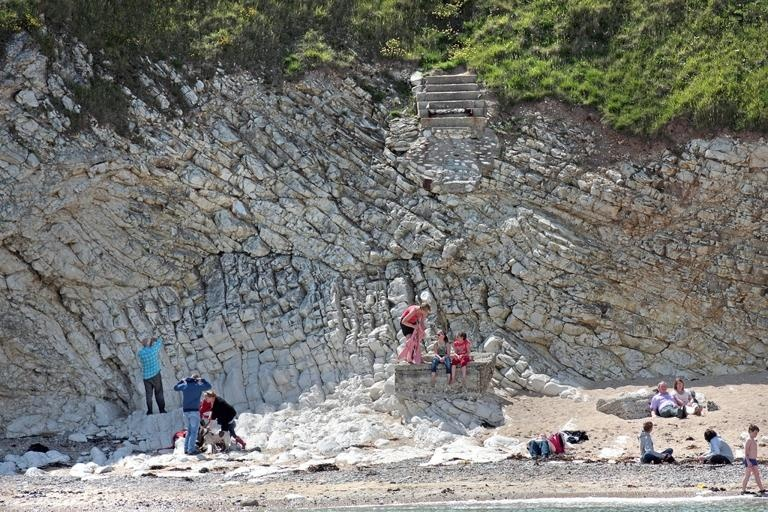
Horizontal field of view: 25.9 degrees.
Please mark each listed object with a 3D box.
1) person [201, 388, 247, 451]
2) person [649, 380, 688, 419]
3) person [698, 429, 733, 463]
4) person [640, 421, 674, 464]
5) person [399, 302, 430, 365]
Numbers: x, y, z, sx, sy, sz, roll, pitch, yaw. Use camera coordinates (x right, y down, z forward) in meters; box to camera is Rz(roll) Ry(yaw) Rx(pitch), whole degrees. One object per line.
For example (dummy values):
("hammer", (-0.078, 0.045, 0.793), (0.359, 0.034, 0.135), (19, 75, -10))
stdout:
("person", (-4.518, 4.582, 47.555), (1.222, 1.773, 0.815), (2, 28, 13))
("person", (7.849, 4.121, 46.883), (0.674, 0.581, 1.039), (0, 1, -5))
("person", (8.838, 5.112, 44.768), (0.792, 1.051, 1.001), (-7, -9, 19))
("person", (7.286, 5.115, 45.196), (0.933, 1.249, 0.943), (-1, -1, -40))
("person", (0.906, 2.311, 48.495), (0.834, 2.036, 0.956), (14, 23, 15))
